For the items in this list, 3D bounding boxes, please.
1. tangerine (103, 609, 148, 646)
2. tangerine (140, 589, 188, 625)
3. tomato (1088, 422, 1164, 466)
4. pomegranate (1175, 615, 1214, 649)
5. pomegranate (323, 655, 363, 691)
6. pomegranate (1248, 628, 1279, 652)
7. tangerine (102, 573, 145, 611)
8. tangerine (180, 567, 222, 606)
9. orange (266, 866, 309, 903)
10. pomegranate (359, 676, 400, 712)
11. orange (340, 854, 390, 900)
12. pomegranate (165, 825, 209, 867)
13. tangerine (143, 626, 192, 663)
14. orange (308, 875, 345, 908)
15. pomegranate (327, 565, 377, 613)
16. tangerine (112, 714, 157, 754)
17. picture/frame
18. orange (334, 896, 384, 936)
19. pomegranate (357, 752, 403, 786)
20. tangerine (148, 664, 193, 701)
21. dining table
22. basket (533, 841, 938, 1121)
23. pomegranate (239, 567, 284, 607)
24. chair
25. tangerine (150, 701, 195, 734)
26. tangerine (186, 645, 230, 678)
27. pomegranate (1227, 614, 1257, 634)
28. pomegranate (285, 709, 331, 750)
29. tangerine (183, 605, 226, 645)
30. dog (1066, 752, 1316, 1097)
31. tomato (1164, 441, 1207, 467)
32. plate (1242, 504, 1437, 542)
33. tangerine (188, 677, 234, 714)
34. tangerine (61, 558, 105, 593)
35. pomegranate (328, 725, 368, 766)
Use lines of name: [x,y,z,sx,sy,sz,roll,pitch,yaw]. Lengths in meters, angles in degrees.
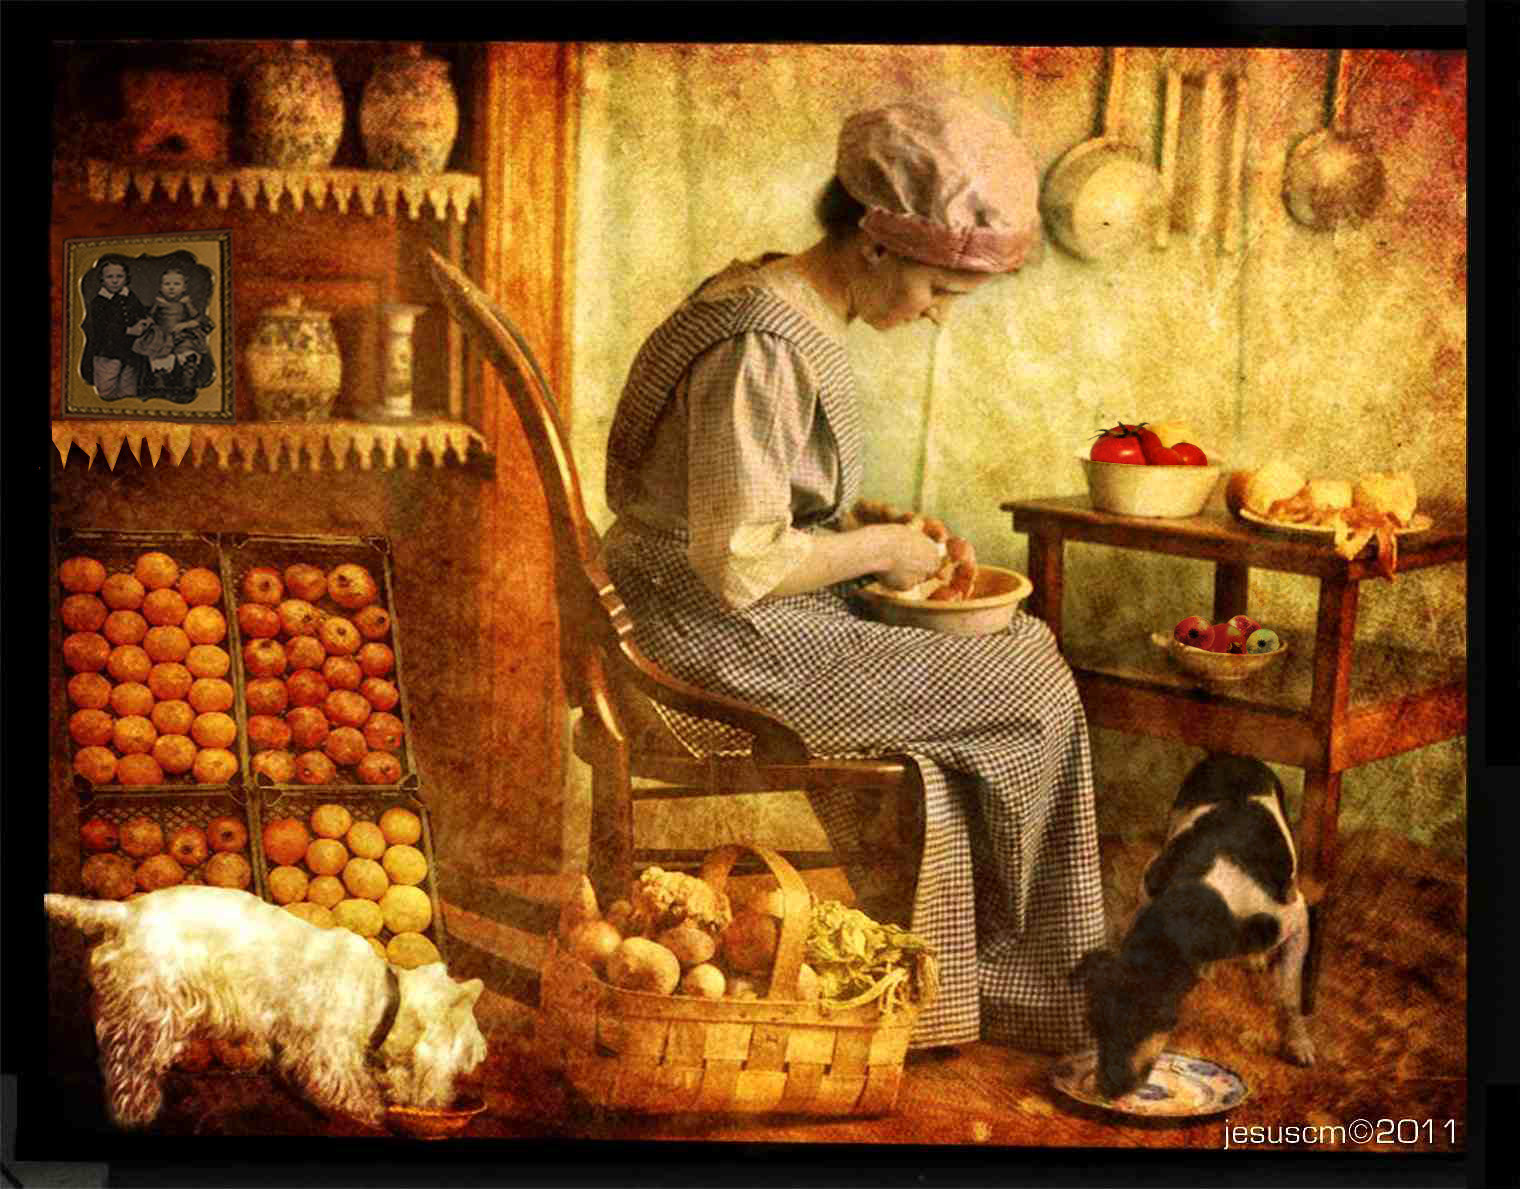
tangerine: [-1.113,0.057,2.410,0.060,0.061,0.031,4,-1,-9]
tangerine: [-1.045,0.023,2.408,0.063,0.065,0.034,-10,0,-1]
tomato: [0.648,-0.265,2.418,0.079,0.081,0.083,-10,7,-3]
pomegranate: [0.769,0.066,2.447,0.044,0.046,0.058,17,7,11]
pomegranate: [-0.741,0.140,2.436,0.054,0.057,0.056,3,-3,-9]
pomegranate: [0.890,0.083,2.439,0.062,0.043,0.023,-2,7,-18]
tangerine: [-1.118,-0.003,2.410,0.059,0.062,0.033,-11,-3,-10]
tangerine: [-0.981,-0.013,2.419,0.063,0.066,0.035,-28,2,-12]
orange: [-0.837,0.511,2.424,0.060,0.062,0.031,6,0,-15]
pomegranate: [-0.678,0.177,2.454,0.054,0.054,0.053,26,28,-23]
orange: [-0.702,0.502,2.445,0.071,0.072,0.035,-49,13,-17]
pomegranate: [-1.005,0.441,2.414,0.069,0.069,0.025,-40,2,-12]
tangerine: [-1.041,0.086,2.406,0.059,0.062,0.061,-19,26,8]
orange: [-0.769,0.525,2.435,0.049,0.050,0.027,-9,2,-18]
pomegranate: [-0.725,-0.014,2.492,0.078,0.077,0.072,-42,-2,0]
tangerine: [-1.097,0.243,2.401,0.064,0.066,0.034,4,-4,-3]
picture/frame: [-1.061,-0.487,2.394,0.313,0.343,0.017,0,2,-1]
orange: [-0.712,0.573,2.442,0.071,0.062,0.038,9,-9,-15]
pomegranate: [-0.681,0.310,2.456,0.059,0.060,0.059,-33,2,-27]
tangerine: [-1.032,0.152,2.403,0.063,0.063,0.034,11,-3,1]
dining table: [0.892,0.162,2.730,0.697,0.627,0.728,10,10,39]
basket: [-0.066,0.680,2.485,0.643,0.461,0.396,4,-5,-13]
pomegranate: [-0.879,-0.015,2.424,0.062,0.064,0.061,-25,3,-9]
chair: [-0.114,0.105,2.473,0.784,1.100,0.596,-5,24,-12]
tangerine: [-1.027,0.211,2.401,0.057,0.059,0.030,6,-2,-3]
tangerine: [-0.966,0.118,2.405,0.058,0.059,0.030,-12,0,-14]
pomegranate: [0.857,0.053,2.450,0.025,0.035,0.033,-7,27,-39]
pomegranate: [-0.794,0.237,2.453,0.065,0.082,0.067,-10,-6,7]
tangerine: [-0.974,0.056,2.406,0.065,0.066,0.035,10,-6,-2]
dog: [0.812,0.585,2.518,0.278,0.795,0.358,2,-16,40]
tomato: [0.748,-0.249,2.415,0.076,0.042,0.028,0,7,1]
plate: [1.017,-0.128,2.428,0.337,0.042,0.079,-1,6,-11]
tangerine: [-0.954,0.174,2.369,0.059,0.060,0.029,4,-4,-8]
tangerine: [-1.190,-0.033,2.409,0.062,0.064,0.031,-2,0,-8]
pomegranate: [-0.736,0.268,2.444,0.063,0.065,0.029,9,-1,-14]
